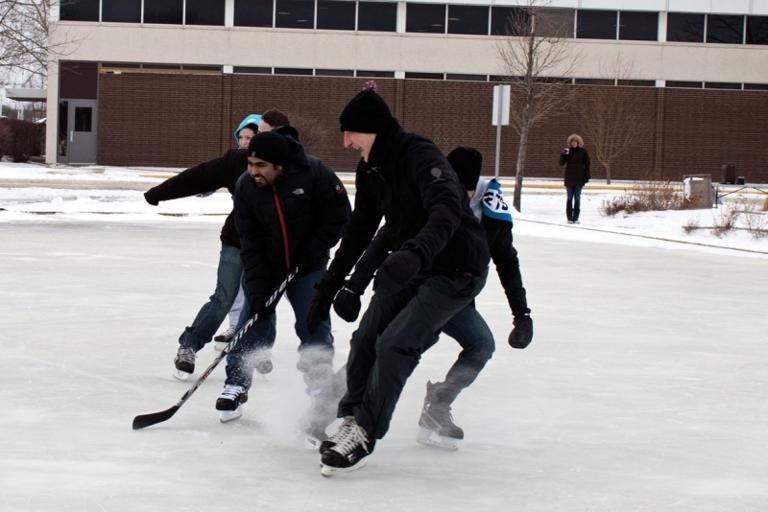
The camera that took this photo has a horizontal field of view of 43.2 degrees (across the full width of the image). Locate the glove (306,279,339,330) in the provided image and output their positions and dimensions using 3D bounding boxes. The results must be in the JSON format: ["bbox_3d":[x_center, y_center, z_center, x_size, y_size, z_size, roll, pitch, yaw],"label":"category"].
[{"bbox_3d":[-0.522,0.410,8.071,0.129,0.423,0.252,16,27,-47],"label":"glove"}]

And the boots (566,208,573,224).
[{"bbox_3d":[3.989,-0.884,20.740,0.128,0.307,0.262,4,5,8],"label":"boots"}]

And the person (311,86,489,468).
[{"bbox_3d":[0.130,0.213,7.753,1.350,3.121,1.033,4,5,10],"label":"person"}]

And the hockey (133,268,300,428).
[{"bbox_3d":[-1.586,0.943,9.335,0.203,1.804,0.284,8,-40,53],"label":"hockey"}]

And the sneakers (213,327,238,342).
[{"bbox_3d":[-1.667,0.823,10.313,0.192,0.214,0.566,-4,-4,7],"label":"sneakers"}]

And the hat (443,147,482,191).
[{"bbox_3d":[0.759,-0.729,8.160,0.352,0.322,0.252,2,16,22],"label":"hat"}]

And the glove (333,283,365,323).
[{"bbox_3d":[-0.297,0.381,7.728,0.209,0.304,0.227,3,5,-5],"label":"glove"}]

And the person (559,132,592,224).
[{"bbox_3d":[4.113,-1.680,20.969,0.614,1.869,1.010,4,5,10],"label":"person"}]

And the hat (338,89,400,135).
[{"bbox_3d":[-0.111,-1.164,7.844,0.546,0.351,0.374,1,-2,-42],"label":"hat"}]

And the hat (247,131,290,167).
[{"bbox_3d":[-0.981,-0.908,8.433,0.290,0.236,0.314,28,19,39],"label":"hat"}]

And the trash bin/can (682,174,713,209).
[{"bbox_3d":[7.027,-1.398,21.636,0.641,0.690,1.021,5,5,17],"label":"trash bin/can"}]

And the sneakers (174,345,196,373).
[{"bbox_3d":[-1.919,0.997,9.385,0.125,0.150,0.345,47,-4,-23],"label":"sneakers"}]

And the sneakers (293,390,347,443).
[{"bbox_3d":[-0.514,1.310,8.277,0.219,0.260,0.633,23,29,16],"label":"sneakers"}]
